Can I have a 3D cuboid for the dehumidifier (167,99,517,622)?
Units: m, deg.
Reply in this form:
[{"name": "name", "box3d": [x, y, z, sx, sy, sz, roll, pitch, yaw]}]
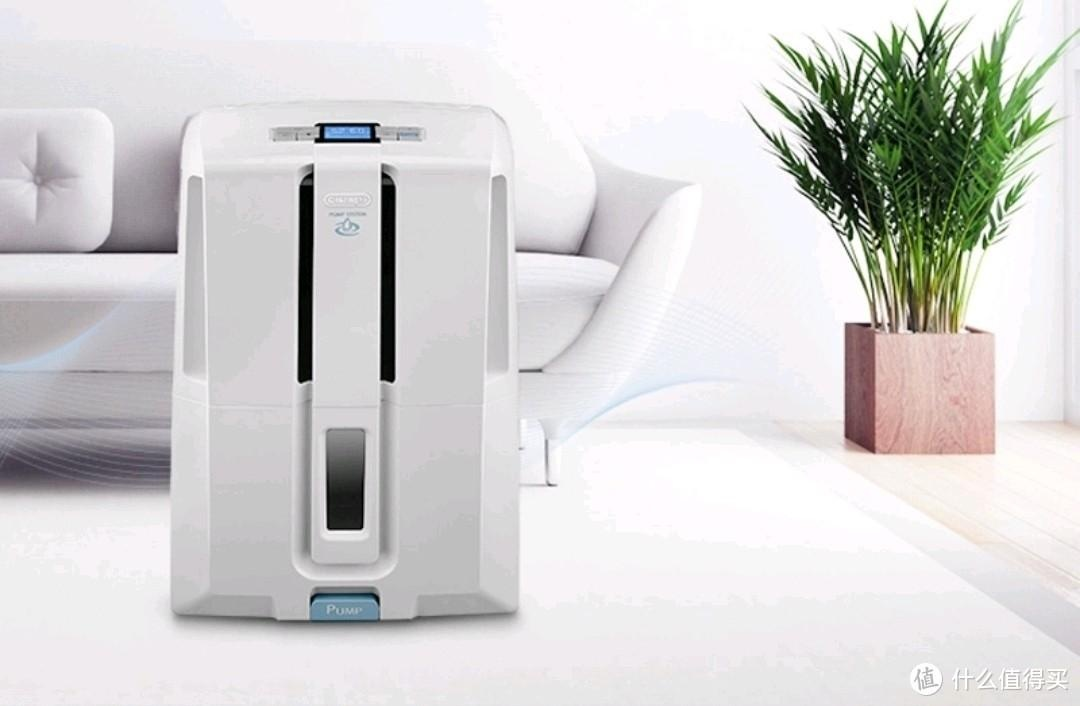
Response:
[{"name": "dehumidifier", "box3d": [-0.309, 0.010, 1.351, 0.564, 0.833, 0.181, 2, 10, -1]}]
